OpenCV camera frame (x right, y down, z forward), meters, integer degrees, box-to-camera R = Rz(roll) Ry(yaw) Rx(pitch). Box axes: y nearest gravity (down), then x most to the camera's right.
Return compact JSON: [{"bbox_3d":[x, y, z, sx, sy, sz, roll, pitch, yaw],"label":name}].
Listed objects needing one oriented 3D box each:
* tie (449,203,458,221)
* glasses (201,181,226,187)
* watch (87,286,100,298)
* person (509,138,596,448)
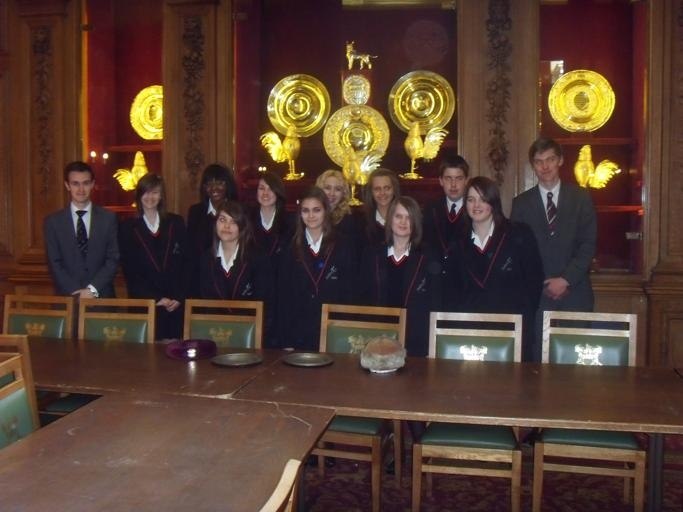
[{"bbox_3d":[0.690,-0.272,3.960,0.020,0.087,0.059,12,-11,-42],"label":"tie"},{"bbox_3d":[-0.872,-0.490,4.228,0.146,0.038,0.051,0,3,20],"label":"glasses"},{"bbox_3d":[-1.615,0.230,4.050,0.037,0.079,0.058,-32,25,-27],"label":"watch"},{"bbox_3d":[1.331,0.123,4.029,0.539,1.723,0.455,-4,16,10],"label":"person"}]
